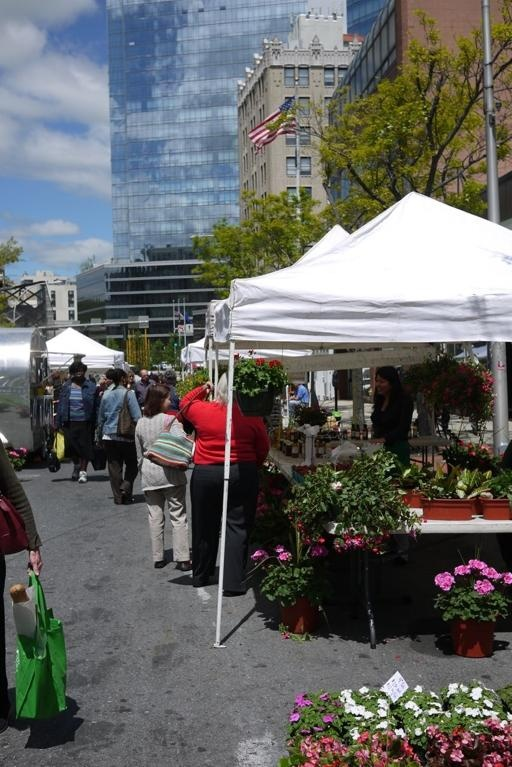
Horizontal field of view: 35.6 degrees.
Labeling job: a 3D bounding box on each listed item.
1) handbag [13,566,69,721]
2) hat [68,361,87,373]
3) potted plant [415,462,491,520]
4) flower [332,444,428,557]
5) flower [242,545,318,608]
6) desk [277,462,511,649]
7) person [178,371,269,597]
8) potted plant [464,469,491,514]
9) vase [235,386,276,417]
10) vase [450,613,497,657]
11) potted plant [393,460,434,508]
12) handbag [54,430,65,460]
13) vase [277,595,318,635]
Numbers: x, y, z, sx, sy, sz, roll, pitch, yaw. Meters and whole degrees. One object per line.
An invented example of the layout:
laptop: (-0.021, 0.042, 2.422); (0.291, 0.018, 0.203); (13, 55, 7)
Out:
handbag: (-0.957, 1.153, 3.535); (0.214, 0.641, 0.202); (-2, 1, -17)
hat: (-3.087, -0.290, 13.726); (0.216, 0.233, 0.277); (-1, 9, -2)
potted plant: (1.285, 0.703, 5.239); (0.349, 0.241, 0.355); (-1, 0, 10)
flower: (0.753, 0.747, 5.044); (0.542, 0.591, 0.370); (-1, 1, 5)
flower: (0.173, 1.341, 5.542); (0.391, 0.475, 0.465); (-9, -29, 37)
desk: (0.898, 1.160, 5.441); (1.364, 1.052, 1.238); (1, 0, 0)
person: (-0.262, 0.794, 6.301); (0.518, 1.746, 0.794); (-2, 2, -40)
potted plant: (1.471, 0.707, 5.318); (0.229, 0.296, 0.253); (-1, -1, 12)
vase: (0.002, 0.142, 6.004); (0.245, 0.167, 0.175); (-1, 0, -4)
vase: (1.308, 1.509, 4.871); (0.219, 0.214, 0.214); (5, -5, -32)
potted plant: (1.053, 0.665, 5.360); (0.244, 0.207, 0.280); (1, 1, 9)
handbag: (-3.667, 1.114, 14.871); (0.217, 0.624, 0.585); (1, -7, -3)
vase: (0.266, 1.523, 5.228); (0.237, 0.233, 0.231); (0, 2, -6)
